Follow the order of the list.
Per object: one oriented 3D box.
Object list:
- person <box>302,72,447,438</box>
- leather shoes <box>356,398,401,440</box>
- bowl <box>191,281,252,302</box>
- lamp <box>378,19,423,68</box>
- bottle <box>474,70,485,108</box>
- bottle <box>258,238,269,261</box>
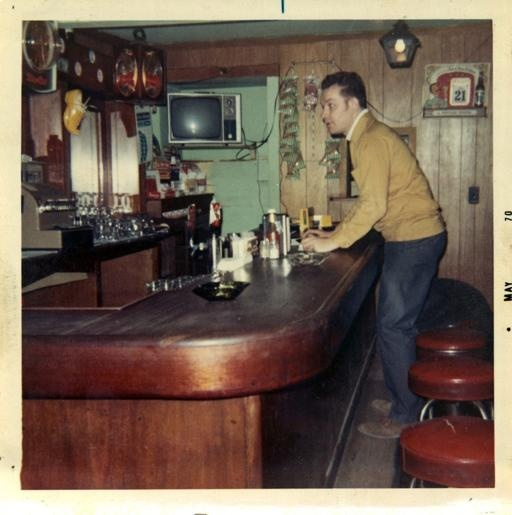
[{"bbox_3d":[0.699,-0.042,3.224,0.722,2.018,0.503,0,7,20],"label":"person"},{"bbox_3d":[0.716,0.941,3.261,0.304,0.136,0.100,5,8,32],"label":"leather shoes"},{"bbox_3d":[-0.142,0.133,2.247,0.220,0.065,0.116,-6,9,-10],"label":"bowl"},{"bbox_3d":[1.216,-1.817,4.743,0.291,0.489,0.348,4,9,24],"label":"lamp"},{"bbox_3d":[2.062,-1.539,5.179,0.091,0.324,0.041,-3,7,-3],"label":"bottle"},{"bbox_3d":[0.052,-0.046,3.314,0.063,0.106,0.058,-3,7,0],"label":"bottle"}]
